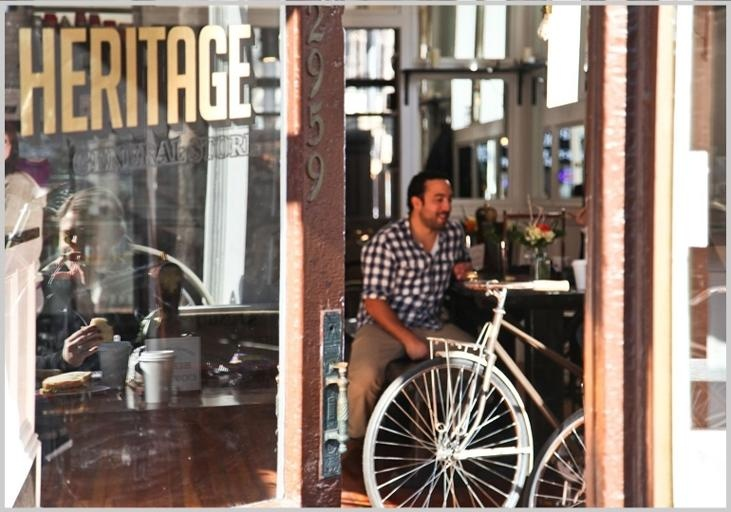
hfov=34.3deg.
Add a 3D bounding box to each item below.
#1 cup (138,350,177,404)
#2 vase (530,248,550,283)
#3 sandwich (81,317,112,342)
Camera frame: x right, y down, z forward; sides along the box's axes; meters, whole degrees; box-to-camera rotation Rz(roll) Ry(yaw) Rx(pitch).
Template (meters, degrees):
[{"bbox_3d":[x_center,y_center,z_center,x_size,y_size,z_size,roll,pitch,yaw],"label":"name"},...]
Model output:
[{"bbox_3d":[-0.748,0.437,4.391,0.157,0.219,0.168,-1,5,0],"label":"cup"},{"bbox_3d":[0.832,0.042,5.534,0.092,0.176,0.096,11,17,43],"label":"vase"},{"bbox_3d":[-0.946,0.263,4.247,0.068,0.093,0.026,-28,13,-34],"label":"sandwich"}]
